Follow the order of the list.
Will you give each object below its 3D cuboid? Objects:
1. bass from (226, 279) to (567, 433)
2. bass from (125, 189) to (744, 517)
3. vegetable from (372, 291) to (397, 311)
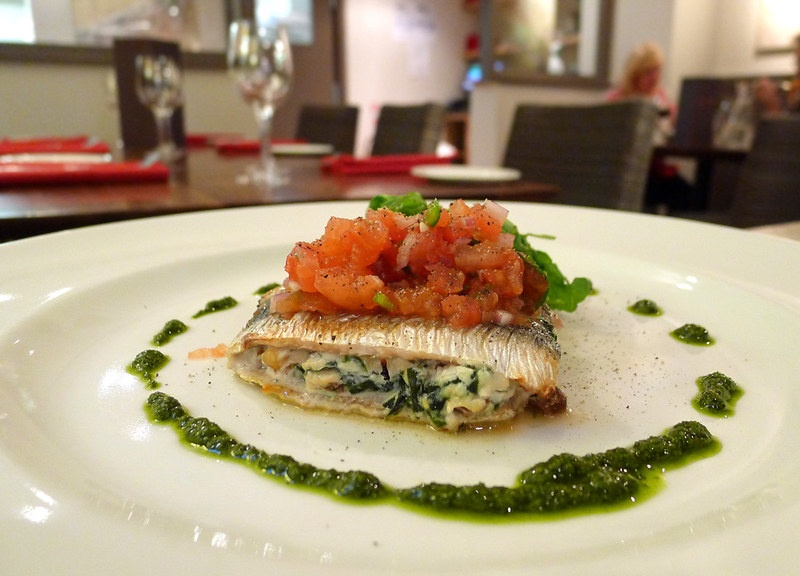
[{"bbox_3d":[0.026,0.285,2.311,0.645,0.185,0.646,4,13,15],"label":"bass"},{"bbox_3d":[0.127,0.311,2.724,1.841,1.082,1.843,5,19,12],"label":"bass"},{"bbox_3d":[-0.057,0.054,2.363,0.083,0.025,0.052,41,55,-4],"label":"vegetable"}]
